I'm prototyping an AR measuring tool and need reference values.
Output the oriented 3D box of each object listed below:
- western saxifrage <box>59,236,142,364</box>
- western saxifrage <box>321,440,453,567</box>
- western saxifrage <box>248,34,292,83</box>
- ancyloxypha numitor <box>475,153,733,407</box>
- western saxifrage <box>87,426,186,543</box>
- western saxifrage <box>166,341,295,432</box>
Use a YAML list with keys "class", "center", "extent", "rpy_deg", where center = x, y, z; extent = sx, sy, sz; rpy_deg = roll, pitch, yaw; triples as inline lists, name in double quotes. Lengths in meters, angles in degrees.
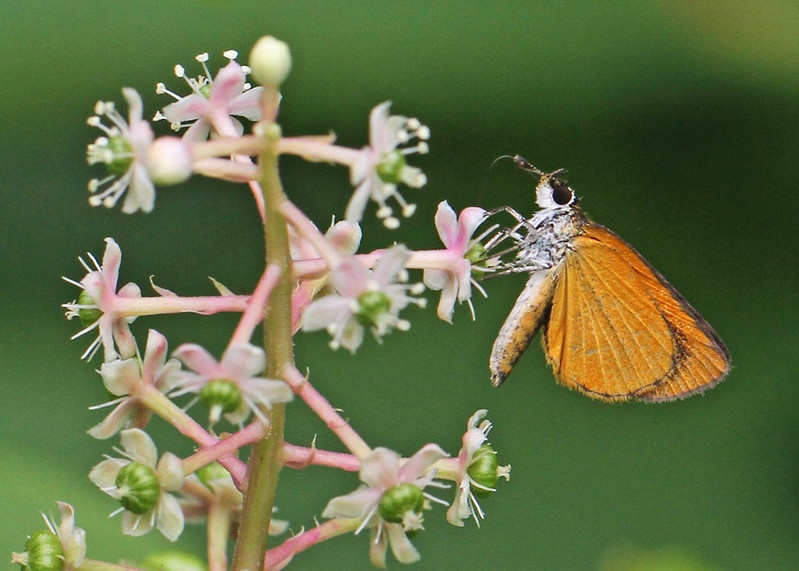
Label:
- class: "western saxifrage"
  center: [-1.419, 0.095, 4.575]
  extent: [0.268, 0.752, 0.256]
  rpy_deg: [-10, 16, -42]
- class: "western saxifrage"
  center: [-0.061, 0.938, 4.289]
  extent: [0.448, 0.646, 0.435]
  rpy_deg: [-2, 6, -6]
- class: "western saxifrage"
  center: [-0.526, -0.934, 4.033]
  extent: [0.181, 0.221, 0.182]
  rpy_deg: [1, -2, -8]
- class: "ancyloxypha numitor"
  center: [1.360, 0.048, 6.214]
  extent: [1.355, 1.435, 0.550]
  rpy_deg: [6, 10, 5]
- class: "western saxifrage"
  center: [-1.187, 0.880, 4.298]
  extent: [0.476, 0.496, 0.223]
  rpy_deg: [9, 10, 24]
- class: "western saxifrage"
  center: [-0.716, 0.426, 4.105]
  extent: [0.481, 0.484, 0.205]
  rpy_deg: [27, 37, -12]
